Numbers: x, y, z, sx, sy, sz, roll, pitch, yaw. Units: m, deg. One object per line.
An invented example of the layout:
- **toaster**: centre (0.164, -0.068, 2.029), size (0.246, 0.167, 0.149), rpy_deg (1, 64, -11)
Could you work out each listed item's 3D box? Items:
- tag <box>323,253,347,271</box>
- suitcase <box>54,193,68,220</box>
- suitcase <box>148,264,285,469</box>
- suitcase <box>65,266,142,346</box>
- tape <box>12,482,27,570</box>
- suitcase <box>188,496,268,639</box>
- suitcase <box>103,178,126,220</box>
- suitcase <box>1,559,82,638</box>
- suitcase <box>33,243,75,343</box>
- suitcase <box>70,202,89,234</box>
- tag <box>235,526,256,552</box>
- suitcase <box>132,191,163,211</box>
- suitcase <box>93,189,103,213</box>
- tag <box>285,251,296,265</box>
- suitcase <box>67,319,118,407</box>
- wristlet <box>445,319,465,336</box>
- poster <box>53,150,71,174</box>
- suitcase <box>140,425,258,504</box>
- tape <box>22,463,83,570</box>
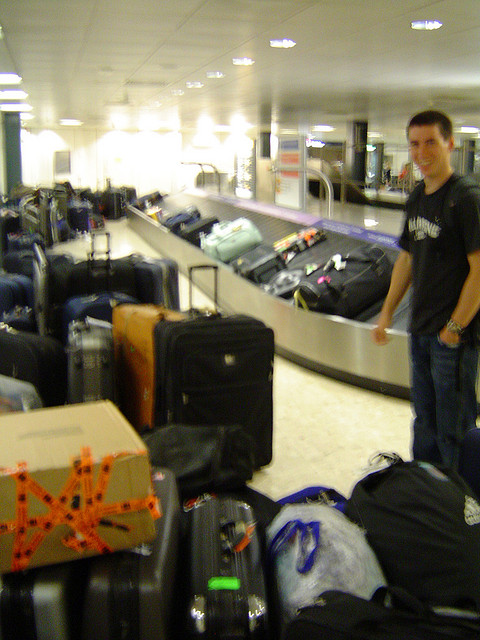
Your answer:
- **tag**: centre (0.829, -0.485, 4.240), size (0.119, 0.089, 0.232), rpy_deg (-5, 29, 1)
- **suitcase**: centre (-3.705, -2.389, 10.218), size (0.219, 0.544, 1.116), rpy_deg (4, 10, -20)
- **suitcase**: centre (-0.060, 0.237, 2.314), size (0.535, 0.913, 0.533), rpy_deg (-7, 7, -25)
- **suitcase**: centre (-0.845, -0.189, 2.970), size (0.420, 0.516, 0.375), rpy_deg (-6, 19, -24)
- **tape**: centre (-0.345, 0.328, 0.768), size (0.016, 0.146, 0.016), rpy_deg (2, 9, -29)
- **suitcase**: centre (-0.034, 0.517, 1.016), size (0.095, 0.204, 0.290), rpy_deg (-1, 2, -1)
- **suitcase**: centre (-4.018, -3.729, 15.718), size (0.651, 1.052, 2.050), rpy_deg (3, 11, -24)
- **suitcase**: centre (-0.340, 0.497, 0.844), size (0.135, 0.140, 0.085), rpy_deg (3, 9, -30)
- **suitcase**: centre (-1.181, -0.158, 3.025), size (0.189, 0.522, 0.528), rpy_deg (-3, 15, -15)
- **suitcase**: centre (-3.641, -2.334, 11.143), size (0.316, 0.591, 0.588), rpy_deg (9, 9, 13)
- **tag**: centre (0.014, 0.500, 1.116), size (0.015, 0.017, 0.058), rpy_deg (18, 37, 42)
- **suitcase**: centre (-2.498, -3.220, 13.246), size (0.759, 0.577, 1.726), rpy_deg (6, 10, -14)
- **suitcase**: centre (-4.492, -3.746, 15.477), size (0.327, 0.704, 2.263), rpy_deg (4, 10, -18)
- **tag**: centre (0.543, -0.689, 5.332), size (0.028, 0.120, 0.117), rpy_deg (34, 0, -21)
- **suitcase**: centre (-0.716, 0.211, 2.355), size (0.220, 0.363, 0.289), rpy_deg (4, 9, -21)
- **wristlet**: centre (0.707, 0.027, 1.608), size (0.035, 0.023, 0.050), rpy_deg (29, 18, -7)
- **poster**: centre (-8.320, -7.417, 22.811), size (0.782, 1.266, 0.116), rpy_deg (-1, 10, -15)
- **suitcase**: centre (-0.148, 0.521, 1.823), size (0.393, 0.208, 0.328), rpy_deg (-4, 22, -9)
- **tape**: centre (-0.301, 0.320, 0.787), size (0.084, 0.172, 0.016), rpy_deg (3, 9, -26)
